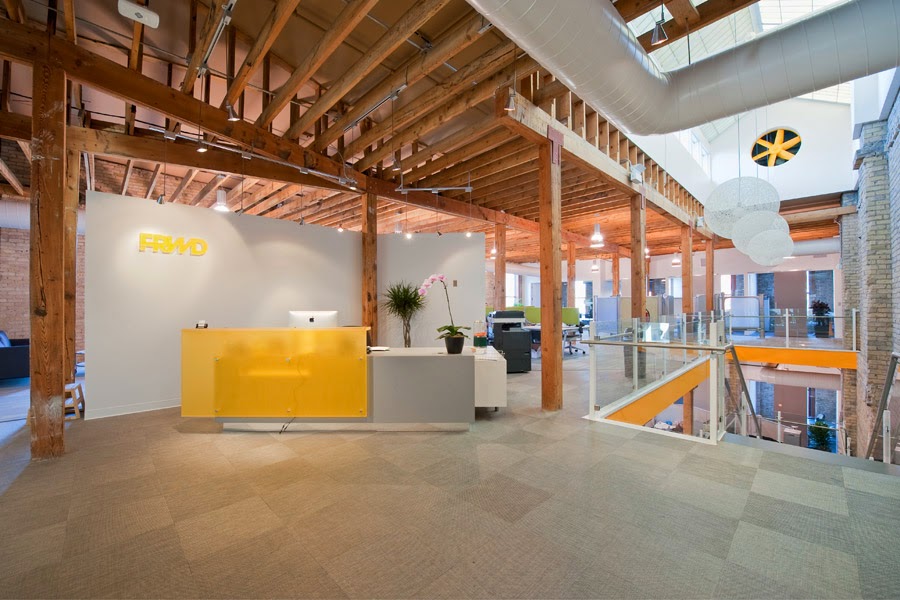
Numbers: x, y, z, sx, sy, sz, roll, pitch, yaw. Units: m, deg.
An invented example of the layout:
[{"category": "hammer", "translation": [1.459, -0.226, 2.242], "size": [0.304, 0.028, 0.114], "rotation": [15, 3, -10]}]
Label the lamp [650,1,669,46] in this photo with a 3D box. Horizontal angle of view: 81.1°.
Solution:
[{"category": "lamp", "translation": [2.944, -3.850, 7.422], "size": [0.220, 0.660, 0.941], "rotation": [3, 10, 20]}]

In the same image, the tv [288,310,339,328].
[{"category": "tv", "translation": [-2.219, 0.307, 8.571], "size": [0.716, 0.215, 0.325], "rotation": [-4, 10, -18]}]

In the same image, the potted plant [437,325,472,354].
[{"category": "potted plant", "translation": [0.060, 0.577, 7.902], "size": [0.446, 0.308, 0.436], "rotation": [-2, -1, -9]}]

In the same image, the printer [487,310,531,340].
[{"category": "printer", "translation": [1.318, 0.607, 12.013], "size": [0.714, 0.667, 1.265], "rotation": [1, 10, 11]}]
